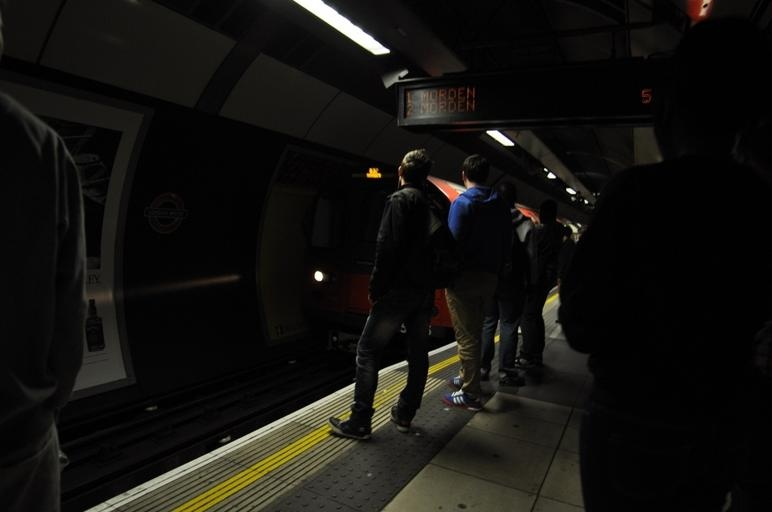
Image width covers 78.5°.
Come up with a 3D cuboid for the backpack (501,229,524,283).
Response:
[{"bbox_3d":[1.406,0.004,5.029,0.138,0.566,0.352,0,-7,38],"label":"backpack"}]

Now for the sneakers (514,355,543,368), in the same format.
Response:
[{"bbox_3d":[1.844,1.305,5.926,0.420,0.173,0.142,7,-4,-8],"label":"sneakers"}]

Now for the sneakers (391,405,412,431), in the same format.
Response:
[{"bbox_3d":[0.131,1.386,4.100,0.102,0.125,0.275,4,11,-15],"label":"sneakers"}]

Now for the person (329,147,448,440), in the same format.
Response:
[{"bbox_3d":[0.079,0.475,3.908,0.863,2.051,0.272,0,8,-14],"label":"person"}]

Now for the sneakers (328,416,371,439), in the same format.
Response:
[{"bbox_3d":[-0.291,1.419,3.985,0.388,0.167,0.145,9,-9,17],"label":"sneakers"}]

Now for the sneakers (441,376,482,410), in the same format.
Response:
[{"bbox_3d":[0.716,1.356,4.643,0.179,0.202,0.442,-2,14,-41],"label":"sneakers"}]

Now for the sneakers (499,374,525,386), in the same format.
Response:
[{"bbox_3d":[1.345,1.321,5.111,0.319,0.132,0.106,3,3,-7],"label":"sneakers"}]
